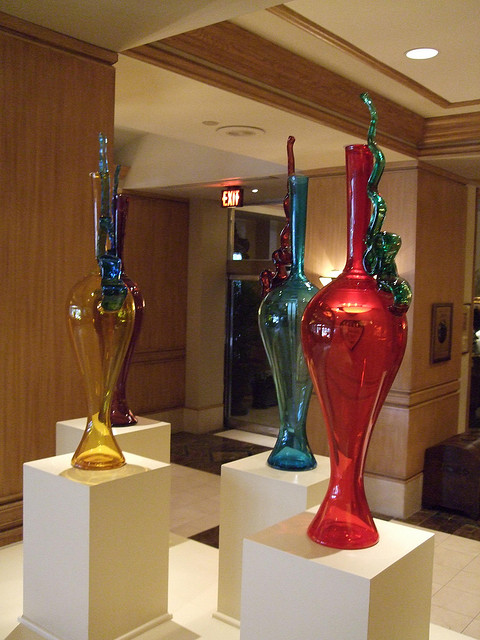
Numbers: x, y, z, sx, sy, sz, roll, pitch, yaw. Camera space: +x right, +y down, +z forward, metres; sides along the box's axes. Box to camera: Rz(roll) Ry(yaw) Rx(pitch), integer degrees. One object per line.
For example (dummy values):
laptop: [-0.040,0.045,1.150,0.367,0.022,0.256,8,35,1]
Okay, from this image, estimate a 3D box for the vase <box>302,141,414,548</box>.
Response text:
vase: [0.196,0.058,0.945,0.166,0.711,0.205,2,6,15]

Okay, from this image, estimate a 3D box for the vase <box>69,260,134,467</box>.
vase: [-0.328,0.113,1.289,0.203,0.499,0.120,5,8,38]
